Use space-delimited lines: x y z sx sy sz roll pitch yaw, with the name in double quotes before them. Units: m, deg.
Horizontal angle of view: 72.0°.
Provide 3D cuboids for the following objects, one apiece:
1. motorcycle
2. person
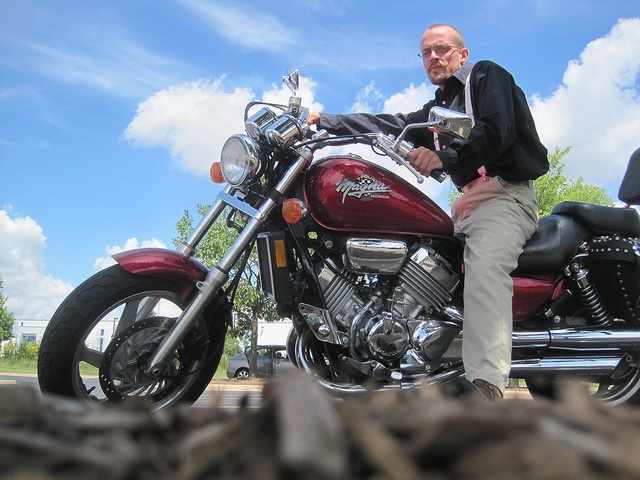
"motorcycle" 0.244 0.069 3.185 3.288 1.895 1.515 2 -6 -13
"person" 0.678 -0.213 2.564 1.322 2.107 1.165 1 -3 -15
